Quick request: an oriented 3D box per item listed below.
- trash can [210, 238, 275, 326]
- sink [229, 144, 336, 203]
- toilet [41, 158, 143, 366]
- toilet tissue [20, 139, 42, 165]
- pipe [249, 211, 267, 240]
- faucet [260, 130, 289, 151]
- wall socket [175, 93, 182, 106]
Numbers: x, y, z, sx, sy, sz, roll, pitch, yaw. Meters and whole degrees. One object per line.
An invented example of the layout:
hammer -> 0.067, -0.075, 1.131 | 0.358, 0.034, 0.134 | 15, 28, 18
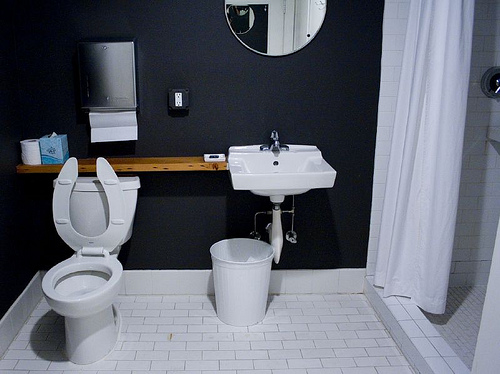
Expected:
trash can -> -0.037, 0.626, 3.022 | 0.530, 0.572, 0.542 | 0, 14, -2
sink -> 0.193, -0.045, 2.812 | 0.661, 0.368, 0.479 | -2, 19, -6
toilet -> -0.976, 0.420, 2.654 | 0.609, 1.189, 0.759 | -6, 19, -11
toilet tissue -> -1.490, -0.233, 2.851 | 0.134, 0.151, 0.132 | -1, 12, -15
pipe -> 0.060, 0.280, 3.032 | 0.134, 0.228, 0.141 | -3, 18, -1
faucet -> 0.173, -0.301, 2.875 | 0.159, 0.102, 0.160 | 0, 24, 0
wall socket -> -0.486, -0.602, 2.841 | 0.048, 0.082, 0.018 | -6, 18, -9
